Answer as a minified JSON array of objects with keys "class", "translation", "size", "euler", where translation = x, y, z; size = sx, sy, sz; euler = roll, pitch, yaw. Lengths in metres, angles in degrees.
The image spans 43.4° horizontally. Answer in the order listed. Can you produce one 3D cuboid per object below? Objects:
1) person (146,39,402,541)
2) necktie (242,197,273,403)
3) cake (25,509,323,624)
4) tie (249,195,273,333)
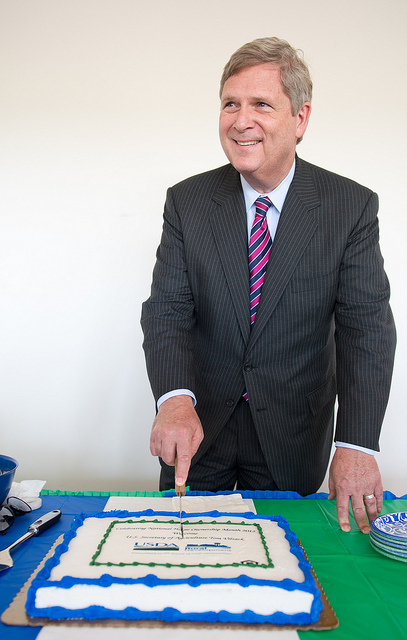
[{"class":"person","translation":[0.198,-0.085,1.352],"size":[0.689,1.353,0.648],"euler":[2,0,-8]},{"class":"necktie","translation":[0.167,-0.082,1.491],"size":[0.068,0.652,0.085],"euler":[5,-2,13]},{"class":"cake","translation":[-0.044,0.435,0.957],"size":[0.471,0.071,0.343],"euler":[3,0,0]},{"class":"tie","translation":[0.154,-0.184,1.462],"size":[0.060,0.392,0.023],"euler":[-2,-15,19]}]
